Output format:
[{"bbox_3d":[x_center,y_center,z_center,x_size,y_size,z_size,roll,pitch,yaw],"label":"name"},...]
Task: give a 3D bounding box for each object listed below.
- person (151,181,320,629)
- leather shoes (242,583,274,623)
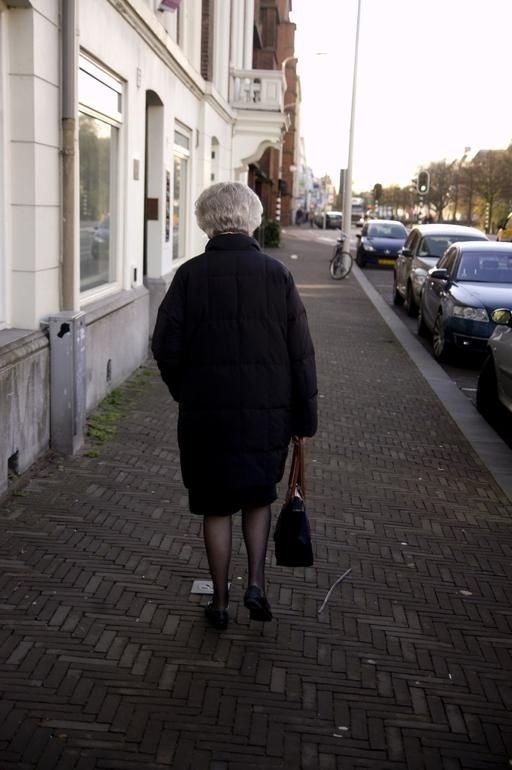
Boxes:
[{"bbox_3d":[-0.069,0.118,2.221,0.581,1.694,0.401,2,2,-1],"label":"person"},{"bbox_3d":[0.011,0.853,2.315,0.056,0.200,0.088,7,47,21],"label":"leather shoes"}]
